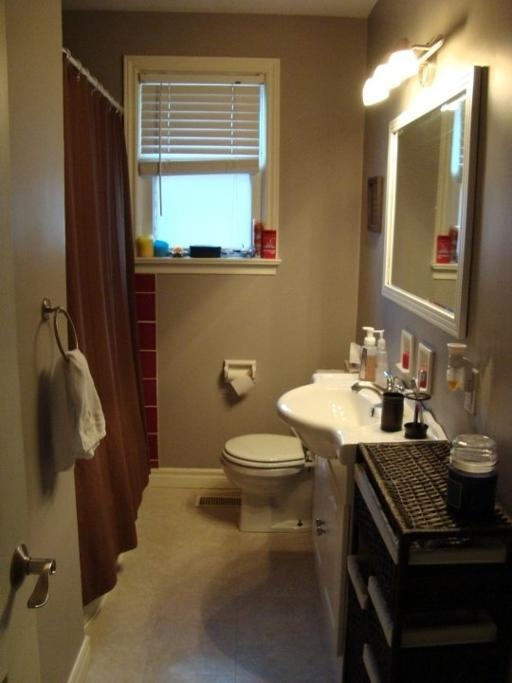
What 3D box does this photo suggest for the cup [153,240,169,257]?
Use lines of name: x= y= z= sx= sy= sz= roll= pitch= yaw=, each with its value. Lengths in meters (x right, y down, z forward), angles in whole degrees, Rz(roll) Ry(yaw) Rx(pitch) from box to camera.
cup: x=-0.491 y=-0.506 z=2.983 sx=0.100 sy=0.087 sz=0.065 roll=-5 pitch=10 yaw=-32

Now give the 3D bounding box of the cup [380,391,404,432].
cup: x=0.377 y=0.190 z=1.599 sx=0.069 sy=0.155 sz=0.083 roll=0 pitch=7 yaw=-2

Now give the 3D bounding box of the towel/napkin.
towel/napkin: x=-0.470 y=0.178 z=1.509 sx=0.060 sy=0.306 sz=0.191 roll=-1 pitch=9 yaw=7

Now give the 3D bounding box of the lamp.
lamp: x=0.463 y=-0.807 z=1.765 sx=0.300 sy=0.230 sz=0.126 roll=-1 pitch=10 yaw=41

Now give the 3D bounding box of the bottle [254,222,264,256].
bottle: x=0.015 y=-0.547 z=2.947 sx=0.027 sy=0.174 sz=0.099 roll=-3 pitch=8 yaw=-25

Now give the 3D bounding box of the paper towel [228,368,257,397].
paper towel: x=-0.076 y=0.205 z=2.964 sx=0.109 sy=0.157 sz=0.130 roll=-6 pitch=12 yaw=3

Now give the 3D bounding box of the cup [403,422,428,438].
cup: x=0.432 y=0.237 z=1.527 sx=0.060 sy=0.048 sz=0.044 roll=1 pitch=8 yaw=5

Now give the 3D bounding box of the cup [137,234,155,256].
cup: x=-0.570 y=-0.508 z=2.939 sx=0.089 sy=0.132 sz=0.070 roll=1 pitch=11 yaw=-6

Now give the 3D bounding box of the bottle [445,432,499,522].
bottle: x=0.396 y=0.247 z=1.041 sx=0.087 sy=0.125 sz=0.100 roll=1 pitch=8 yaw=8
